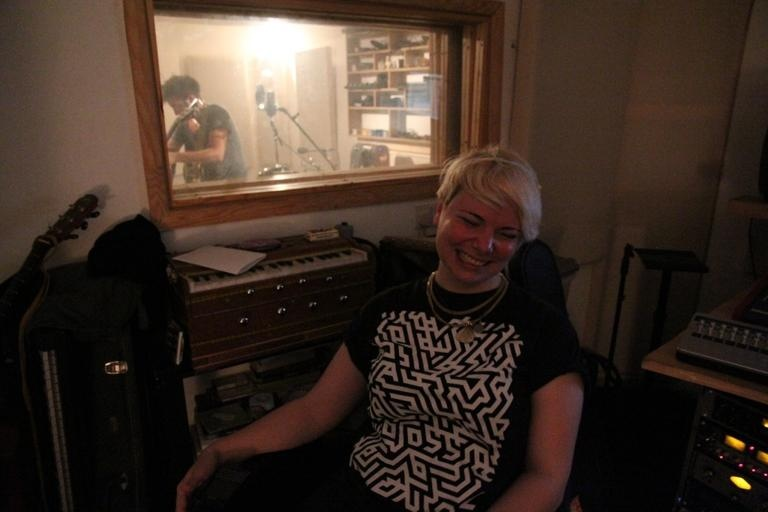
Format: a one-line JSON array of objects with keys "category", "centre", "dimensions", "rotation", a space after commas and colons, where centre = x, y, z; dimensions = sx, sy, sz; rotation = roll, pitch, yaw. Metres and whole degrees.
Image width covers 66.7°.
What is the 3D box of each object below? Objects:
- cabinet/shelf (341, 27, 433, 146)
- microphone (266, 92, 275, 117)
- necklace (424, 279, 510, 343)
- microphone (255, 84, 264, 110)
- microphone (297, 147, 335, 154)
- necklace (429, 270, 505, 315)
[{"category": "cabinet/shelf", "centre": [0.090, -1.108, 3.898], "dimensions": [0.750, 0.701, 0.183], "rotation": [12, 20, 37]}, {"category": "microphone", "centre": [-0.666, -0.890, 3.432], "dimensions": [0.069, 0.119, 0.047], "rotation": [-2, 9, -30]}, {"category": "necklace", "centre": [0.332, 0.254, 2.403], "dimensions": [0.266, 0.135, 0.326], "rotation": [-2, 6, 1]}, {"category": "microphone", "centre": [-0.718, -0.920, 3.394], "dimensions": [0.063, 0.136, 0.015], "rotation": [-12, 21, -29]}, {"category": "microphone", "centre": [-0.436, -0.660, 3.651], "dimensions": [0.235, 0.047, 0.044], "rotation": [-3, 6, -16]}, {"category": "necklace", "centre": [0.344, 0.131, 2.424], "dimensions": [0.308, 0.083, 0.365], "rotation": [0, 20, 8]}]
